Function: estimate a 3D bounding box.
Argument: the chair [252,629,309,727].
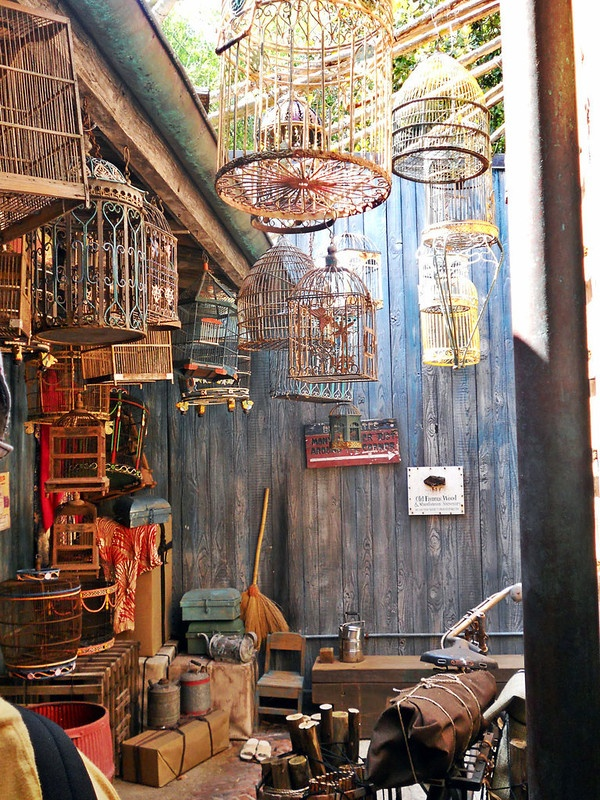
[{"bbox_3d":[-0.123,1.924,6.432,0.348,0.591,0.386,3,1,-7],"label":"chair"}]

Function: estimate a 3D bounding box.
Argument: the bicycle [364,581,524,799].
[{"bbox_3d":[0.771,1.084,3.841,0.459,0.718,1.576,-3,-4,23],"label":"bicycle"}]

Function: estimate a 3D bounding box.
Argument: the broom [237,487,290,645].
[{"bbox_3d":[-0.268,1.204,6.758,0.329,1.118,0.285,-2,-3,-4],"label":"broom"}]

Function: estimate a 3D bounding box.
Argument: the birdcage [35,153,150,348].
[{"bbox_3d":[-0.739,-0.549,3.338,0.327,0.619,0.338,0,2,18],"label":"birdcage"}]

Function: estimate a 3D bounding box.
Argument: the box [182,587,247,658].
[{"bbox_3d":[-0.596,1.556,6.541,0.392,0.382,0.405,0,-8,6],"label":"box"}]

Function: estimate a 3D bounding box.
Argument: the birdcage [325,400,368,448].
[{"bbox_3d":[0.288,0.161,6.449,0.254,0.445,0.303,-1,1,-12],"label":"birdcage"}]
